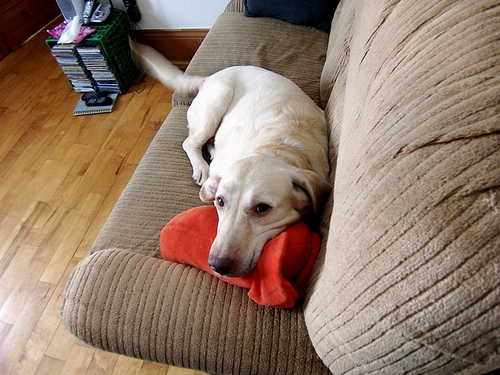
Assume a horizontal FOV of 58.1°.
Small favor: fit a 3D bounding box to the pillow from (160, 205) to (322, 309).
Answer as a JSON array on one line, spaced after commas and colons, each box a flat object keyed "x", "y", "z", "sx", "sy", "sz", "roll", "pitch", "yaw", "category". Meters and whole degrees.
[{"x": -0.007, "y": 0.188, "z": 1.462, "sx": 0.564, "sy": 0.226, "sz": 0.471, "roll": 12, "pitch": 14, "yaw": -3, "category": "pillow"}]

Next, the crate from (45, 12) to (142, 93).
[{"x": -1.006, "y": -0.922, "z": 3.105, "sx": 0.523, "sy": 0.556, "sz": 0.528, "roll": -2, "pitch": 39, "yaw": -4, "category": "crate"}]

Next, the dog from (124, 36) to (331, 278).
[{"x": -0.063, "y": -0.253, "z": 2.010, "sx": 0.692, "sy": 0.374, "sz": 1.577, "roll": 1, "pitch": 37, "yaw": -15, "category": "dog"}]
